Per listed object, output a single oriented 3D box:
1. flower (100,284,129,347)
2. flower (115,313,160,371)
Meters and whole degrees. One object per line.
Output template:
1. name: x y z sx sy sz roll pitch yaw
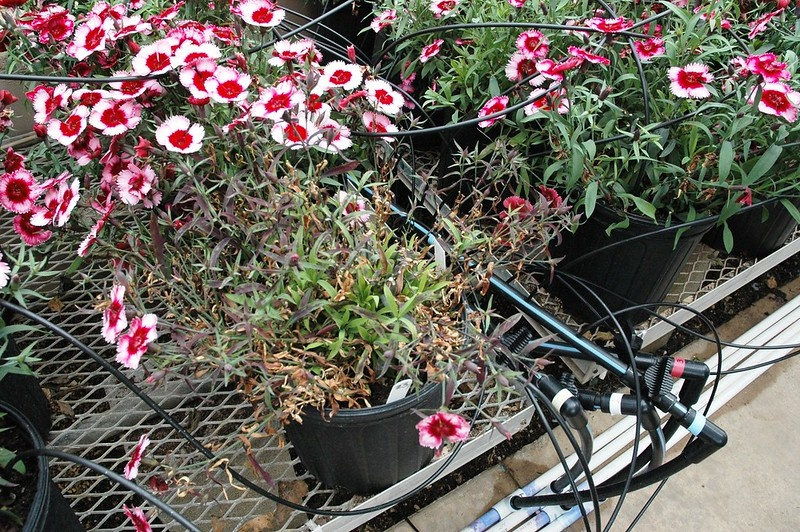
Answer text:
1. flower: -0.655 0.109 1.346 0.060 0.119 0.117 0 -27 -25
2. flower: -0.597 0.165 1.328 0.072 0.115 0.105 2 14 -30
